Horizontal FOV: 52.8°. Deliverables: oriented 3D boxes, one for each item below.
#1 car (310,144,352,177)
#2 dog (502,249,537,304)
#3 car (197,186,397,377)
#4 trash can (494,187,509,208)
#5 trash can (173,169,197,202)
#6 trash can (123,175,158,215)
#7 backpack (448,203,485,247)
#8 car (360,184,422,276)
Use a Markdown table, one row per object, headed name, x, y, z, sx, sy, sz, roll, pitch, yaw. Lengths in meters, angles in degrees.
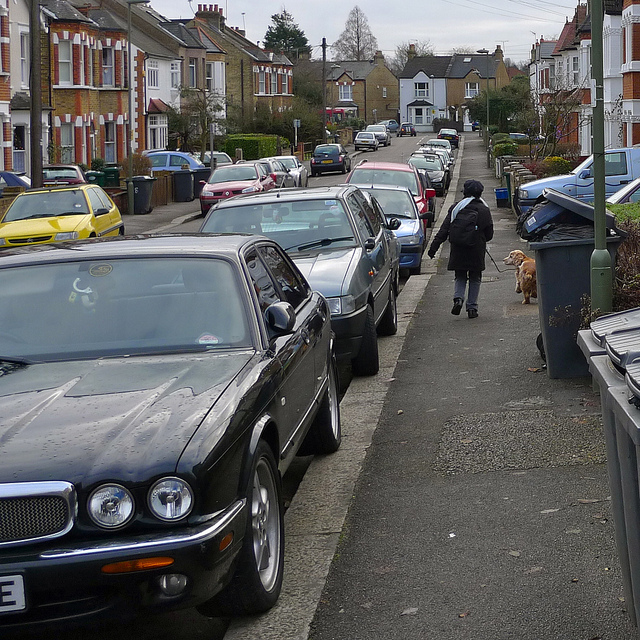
| name | x | y | z | sx | sy | sz | roll | pitch | yaw |
| --- | --- | --- | --- | --- | --- | --- | --- | --- | --- |
| car | 0.951 | -12.322 | 49.971 | 1.909 | 2.306 | 4.492 | 0 | 14 | 8 |
| dog | 3.392 | -0.739 | 10.595 | 0.319 | 0.748 | 1.171 | -9 | 11 | 11 |
| car | -0.021 | -0.663 | 7.389 | 1.317 | 1.580 | 2.962 | 0 | 5 | 11 |
| trash can | 7.445 | -5.030 | 26.388 | 0.511 | 0.812 | 0.632 | -1 | 6 | 16 |
| trash can | -7.112 | -7.166 | 34.441 | 1.012 | 2.214 | 1.391 | -1 | 9 | -4 |
| trash can | -8.509 | -5.795 | 29.723 | 1.312 | 2.486 | 1.451 | 1 | 5 | 20 |
| backpack | 2.168 | -1.494 | 9.830 | 0.378 | 0.769 | 0.658 | 2 | 6 | 24 |
| car | 1.506 | -2.132 | 15.494 | 1.827 | 2.220 | 4.834 | 1 | 7 | 7 |
